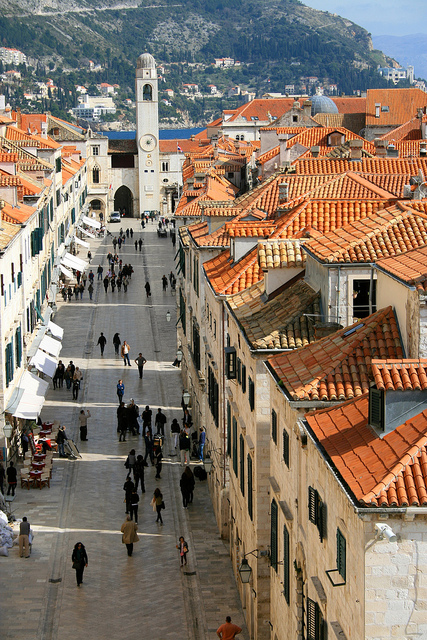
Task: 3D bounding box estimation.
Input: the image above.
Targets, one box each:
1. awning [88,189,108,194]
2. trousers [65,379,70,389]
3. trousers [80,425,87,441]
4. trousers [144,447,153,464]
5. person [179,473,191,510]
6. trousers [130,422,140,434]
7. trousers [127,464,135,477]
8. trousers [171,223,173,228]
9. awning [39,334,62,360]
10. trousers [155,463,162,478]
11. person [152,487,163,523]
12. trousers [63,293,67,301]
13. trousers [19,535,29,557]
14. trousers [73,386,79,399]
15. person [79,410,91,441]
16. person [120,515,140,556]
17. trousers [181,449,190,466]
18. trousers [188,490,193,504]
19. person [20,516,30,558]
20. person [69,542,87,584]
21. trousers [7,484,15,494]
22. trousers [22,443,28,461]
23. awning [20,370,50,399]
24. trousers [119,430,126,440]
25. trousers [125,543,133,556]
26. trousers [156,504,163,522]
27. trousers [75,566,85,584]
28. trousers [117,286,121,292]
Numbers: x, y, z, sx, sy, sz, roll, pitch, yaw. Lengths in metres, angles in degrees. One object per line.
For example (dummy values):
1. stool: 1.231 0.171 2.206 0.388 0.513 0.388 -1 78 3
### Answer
1. awning: -16.237 -17.959 134.749 2.479 0.732 0.485 3 7 -1
2. trousers: -7.745 3.272 51.035 0.152 0.550 0.787 0 8 -13
3. trousers: -5.753 4.884 42.457 0.252 0.723 0.444 0 7 -15
4. trousers: -2.666 5.451 39.555 0.315 0.722 0.549 2 7 -3
5. person: -0.998 6.005 34.463 0.359 1.292 0.688 3 7 12
6. trousers: -3.569 4.761 43.535 0.358 0.659 0.479 -10 -30 1
7. trousers: -3.100 5.545 36.389 0.314 0.595 0.362 3 12 3
8. trousers: -5.480 -12.256 125.307 0.339 0.825 0.740 -1 4 -2
9. awning: -8.066 1.230 47.581 0.890 0.328 1.370 35 19 -15
10. trousers: -2.194 5.789 37.840 0.223 0.635 0.647 1 8 -6
11. person: -1.899 6.216 32.550 0.357 1.543 1.456 1 8 -3
12. trousers: -11.842 -1.861 76.520 0.257 0.626 0.311 0 -24 -3
13. trousers: -5.749 6.762 29.212 0.263 0.845 0.562 0 7 -11
14. trousers: -7.054 3.605 49.098 0.251 0.756 0.827 1 8 -9
15. person: -5.794 4.537 43.039 0.388 1.264 1.831 1 8 -7
16. person: -2.565 6.528 29.609 0.466 1.320 0.508 -3 22 -8
17. trousers: -1.143 5.429 38.679 0.340 0.856 0.874 2 8 -2
18. trousers: -0.860 6.294 34.695 0.117 0.545 0.137 9 52 10
19. person: -5.713 6.493 29.080 0.286 1.433 0.792 0 7 -11
20. person: -3.850 6.773 27.615 0.419 1.448 1.468 1 8 -9
21. trousers: -7.297 5.987 34.622 0.242 0.493 0.606 0 8 -13
22. trousers: -7.645 5.317 38.960 0.201 0.709 0.769 0 8 -11
23. awning: -7.411 2.647 39.733 0.650 0.130 2.313 20 15 -10
24. trousers: -4.058 5.050 42.867 0.247 0.225 0.664 5 40 -3
25. trousers: -2.619 7.002 29.809 0.191 0.511 0.436 1 8 -8
26. trousers: -1.855 6.467 32.643 0.201 0.819 0.798 1 8 -3
27. trousers: -3.813 7.141 27.332 0.191 0.592 0.591 1 8 -9
28. trousers: -7.985 -2.682 81.073 0.267 0.627 0.311 2 12 18
